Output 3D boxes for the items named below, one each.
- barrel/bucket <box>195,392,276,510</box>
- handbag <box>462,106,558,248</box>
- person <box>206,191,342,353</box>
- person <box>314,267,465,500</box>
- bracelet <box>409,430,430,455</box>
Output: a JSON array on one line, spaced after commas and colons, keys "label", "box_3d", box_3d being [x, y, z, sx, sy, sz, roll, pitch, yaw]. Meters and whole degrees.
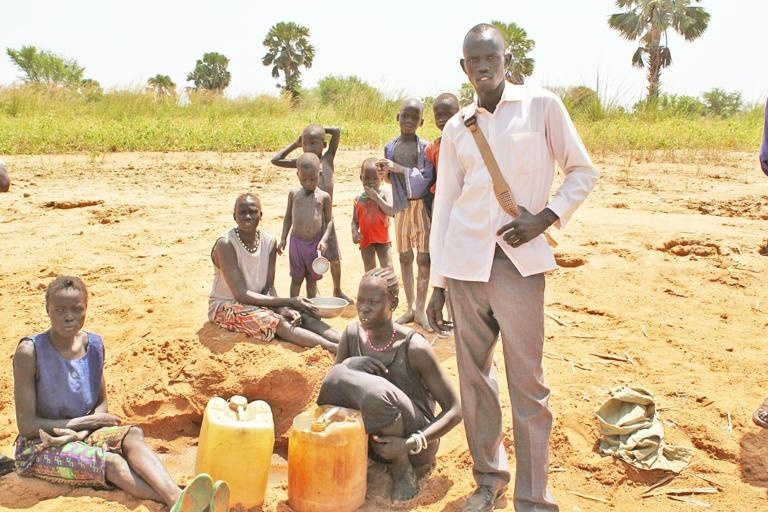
[{"label": "barrel/bucket", "box_3d": [-1.082, 1.396, 4.685, 0.556, 0.736, 0.346, 1, 10, -3]}, {"label": "handbag", "box_3d": [0.849, -0.524, 4.305, 0.140, 1.002, 0.118, -26, -2, 17]}, {"label": "person", "box_3d": [-0.864, 0.151, 5.897, 1.479, 1.290, 0.669, 12, 15, 22]}, {"label": "person", "box_3d": [0.029, 0.916, 4.929, 1.131, 1.538, 0.954, 7, 4, 38]}, {"label": "bracelet", "box_3d": [0.262, 1.343, 4.635, 0.081, 0.159, 0.138, -11, 11, -42]}]
